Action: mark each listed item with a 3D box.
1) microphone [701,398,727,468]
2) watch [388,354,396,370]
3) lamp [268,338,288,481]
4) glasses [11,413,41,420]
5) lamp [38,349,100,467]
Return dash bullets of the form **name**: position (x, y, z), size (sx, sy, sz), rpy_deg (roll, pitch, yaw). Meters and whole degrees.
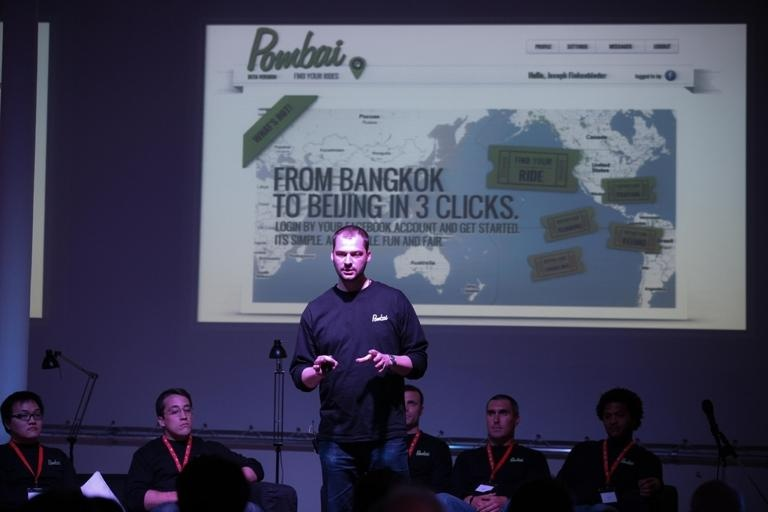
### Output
- **microphone**: position (2.797, 1.518, 7.592), size (0.165, 0.637, 0.166), rpy_deg (-21, 11, -22)
- **watch**: position (0.061, 0.698, 5.913), size (0.056, 0.074, 0.025), rpy_deg (3, -4, -34)
- **lamp**: position (-0.931, 1.355, 7.859), size (0.143, 1.244, 0.281), rpy_deg (1, -3, -7)
- **glasses**: position (-2.858, 1.279, 7.196), size (0.214, 0.066, 0.041), rpy_deg (2, -3, -23)
- **lamp**: position (-2.831, 1.516, 7.956), size (0.509, 1.368, 0.301), rpy_deg (2, -7, 5)
